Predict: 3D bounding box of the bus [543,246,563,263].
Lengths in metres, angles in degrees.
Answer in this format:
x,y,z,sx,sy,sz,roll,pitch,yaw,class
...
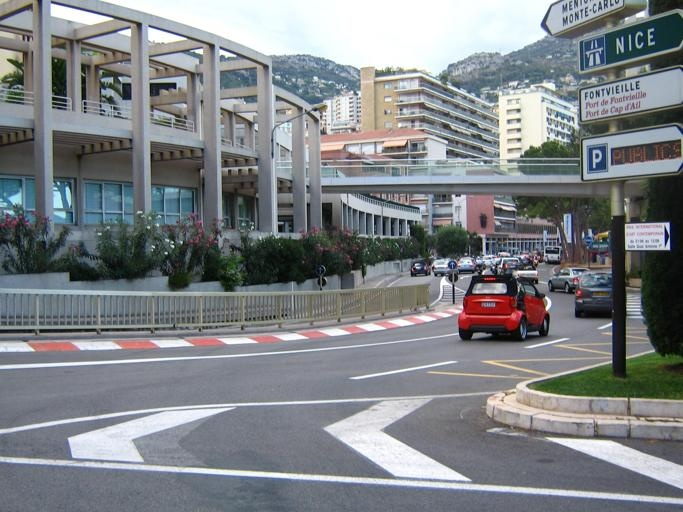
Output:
x,y,z,sx,sy,sz,roll,pitch,yaw,class
32.087,0.017,112.499,1.880,1.950,3.877,1,2,19,bus

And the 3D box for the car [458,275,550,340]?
x,y,z,sx,sy,sz,roll,pitch,yaw,class
4.963,1.548,22.309,2.771,1.988,1.486,-2,1,-34,car
